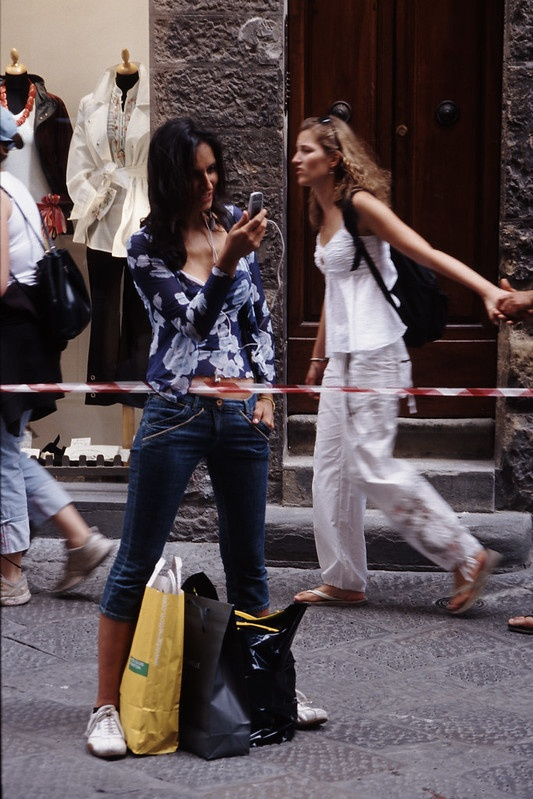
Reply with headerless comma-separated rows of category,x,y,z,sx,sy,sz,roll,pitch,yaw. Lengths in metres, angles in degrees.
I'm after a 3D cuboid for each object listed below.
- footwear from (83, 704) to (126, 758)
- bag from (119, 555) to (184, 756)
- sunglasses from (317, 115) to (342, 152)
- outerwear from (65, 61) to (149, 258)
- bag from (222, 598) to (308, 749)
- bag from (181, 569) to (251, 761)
footwear,-0.424,0.900,2.137,0.069,0.069,0.174,-1,-2,-14
bag,-0.299,0.685,2.105,0.150,0.547,0.208,0,2,-20
sunglasses,0.276,-1.176,3.467,0.048,0.142,0.149,-16,-14,-13
outerwear,-0.935,-1.496,5.024,0.614,1.123,0.338,7,20,-2
bag,-0.036,0.789,2.294,0.216,0.370,0.367,13,-15,-42
bag,-0.135,0.737,2.076,0.193,0.447,0.182,1,2,-3
